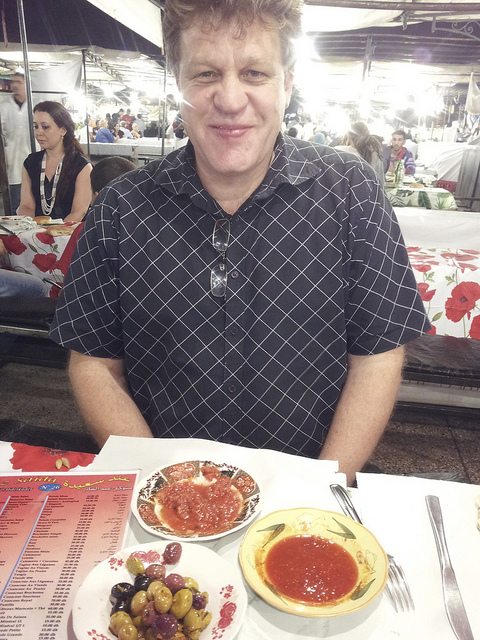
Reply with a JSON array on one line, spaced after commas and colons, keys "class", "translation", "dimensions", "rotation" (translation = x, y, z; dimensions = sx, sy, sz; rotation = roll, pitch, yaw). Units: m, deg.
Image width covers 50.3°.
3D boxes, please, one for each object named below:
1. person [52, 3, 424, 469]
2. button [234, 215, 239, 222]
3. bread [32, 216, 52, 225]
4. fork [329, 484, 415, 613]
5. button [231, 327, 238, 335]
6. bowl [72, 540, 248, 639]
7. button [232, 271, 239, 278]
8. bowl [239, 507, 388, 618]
[{"class": "person", "translation": [0.014, -0.214, 1.544], "dimensions": [1.127, 1.306, 0.631], "rotation": [7, 26, 7]}, {"class": "button", "translation": [-0.010, -0.315, 1.570], "dimensions": [0.015, 0.018, 0.005], "rotation": [4, 6, 1]}, {"class": "bread", "translation": [-1.651, -0.840, 4.285], "dimensions": [0.135, 0.047, 0.168], "rotation": [-6, 18, -20]}, {"class": "fork", "translation": [0.238, 0.424, 0.966], "dimensions": [0.043, 0.030, 0.283], "rotation": [9, 14, -19]}, {"class": "button", "translation": [-0.016, 0.030, 1.526], "dimensions": [0.025, 0.021, 0.005], "rotation": [0, 0, -1]}, {"class": "bowl", "translation": [-0.126, 0.439, 0.839], "dimensions": [0.269, 0.053, 0.204], "rotation": [2, 23, -2]}, {"class": "button", "translation": [-0.014, -0.137, 1.532], "dimensions": [0.023, 0.019, 0.005], "rotation": [0, -6, -5]}, {"class": "bowl", "translation": [0.124, 0.413, 0.890], "dimensions": [0.249, 0.044, 0.235], "rotation": [3, 23, -1]}]
